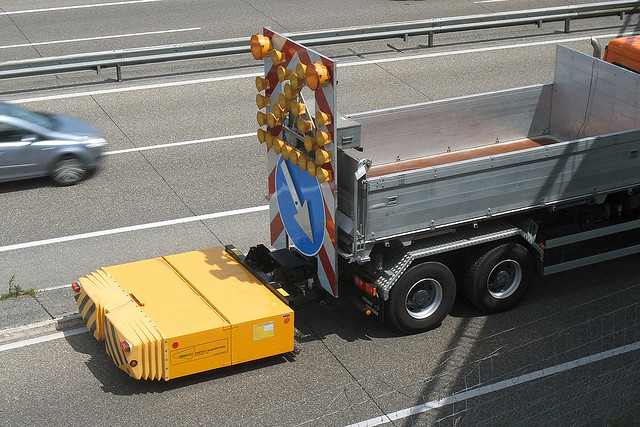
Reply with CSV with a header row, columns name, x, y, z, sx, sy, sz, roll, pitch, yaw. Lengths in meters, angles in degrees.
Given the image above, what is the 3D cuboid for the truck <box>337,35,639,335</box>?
name,x,y,z,sx,sy,sz,roll,pitch,yaw
truck,3.147,-0.240,11.323,6.794,3.411,3.792,-15,32,-14
